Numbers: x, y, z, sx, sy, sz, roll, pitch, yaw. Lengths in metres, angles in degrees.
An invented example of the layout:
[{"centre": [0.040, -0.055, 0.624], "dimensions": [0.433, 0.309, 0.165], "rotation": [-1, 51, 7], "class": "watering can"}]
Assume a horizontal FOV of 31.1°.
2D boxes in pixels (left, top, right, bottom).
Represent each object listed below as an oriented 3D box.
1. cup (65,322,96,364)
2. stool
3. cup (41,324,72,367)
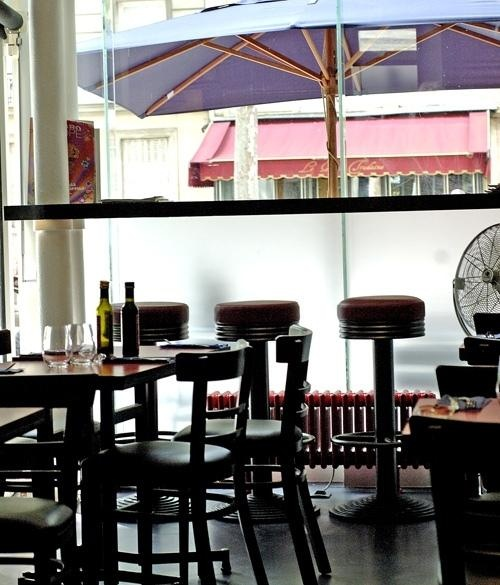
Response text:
[{"centre": [-0.512, 0.159, 2.704], "dimensions": [0.098, 0.151, 0.102], "rotation": [-1, -5, 0], "class": "cup"}, {"centre": [0.145, 0.504, 4.088], "dimensions": [1.271, 1.360, 0.734], "rotation": [-2, 3, -27], "class": "stool"}, {"centre": [-0.573, 0.163, 2.736], "dimensions": [0.101, 0.164, 0.109], "rotation": [-1, -1, 0], "class": "cup"}]
